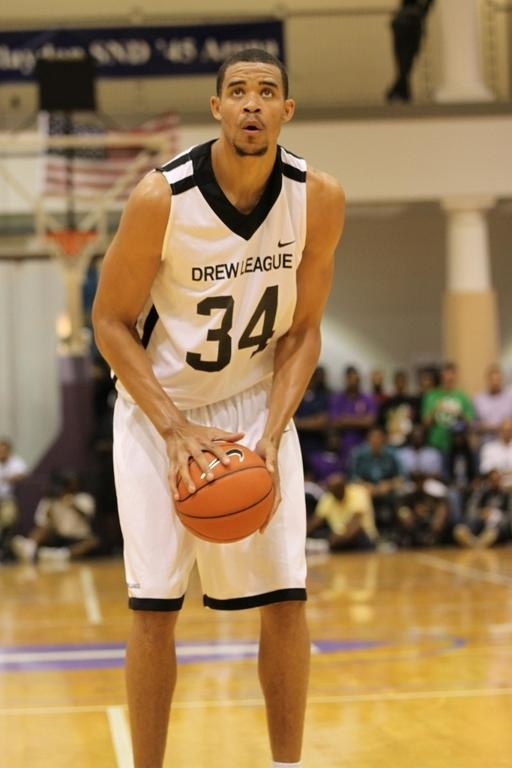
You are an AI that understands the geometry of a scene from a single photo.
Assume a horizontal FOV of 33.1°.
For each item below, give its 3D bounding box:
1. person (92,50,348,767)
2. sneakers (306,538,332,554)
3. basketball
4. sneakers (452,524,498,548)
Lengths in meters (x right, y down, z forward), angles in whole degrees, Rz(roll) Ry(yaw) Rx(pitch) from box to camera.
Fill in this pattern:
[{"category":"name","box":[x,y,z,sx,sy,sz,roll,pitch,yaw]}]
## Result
[{"category":"person","box":[-0.060,0.055,1.629,0.480,1.329,0.378,-1,7,-9]},{"category":"sneakers","box":[0.497,1.302,6.852,0.134,0.049,0.178,-4,-7,34]},{"category":"basketball","box":[-0.046,0.192,1.542,0.181,0.157,0.166,-23,14,-5]},{"category":"sneakers","box":[0.875,0.621,3.454,0.219,0.075,0.203,-3,-3,7]}]
